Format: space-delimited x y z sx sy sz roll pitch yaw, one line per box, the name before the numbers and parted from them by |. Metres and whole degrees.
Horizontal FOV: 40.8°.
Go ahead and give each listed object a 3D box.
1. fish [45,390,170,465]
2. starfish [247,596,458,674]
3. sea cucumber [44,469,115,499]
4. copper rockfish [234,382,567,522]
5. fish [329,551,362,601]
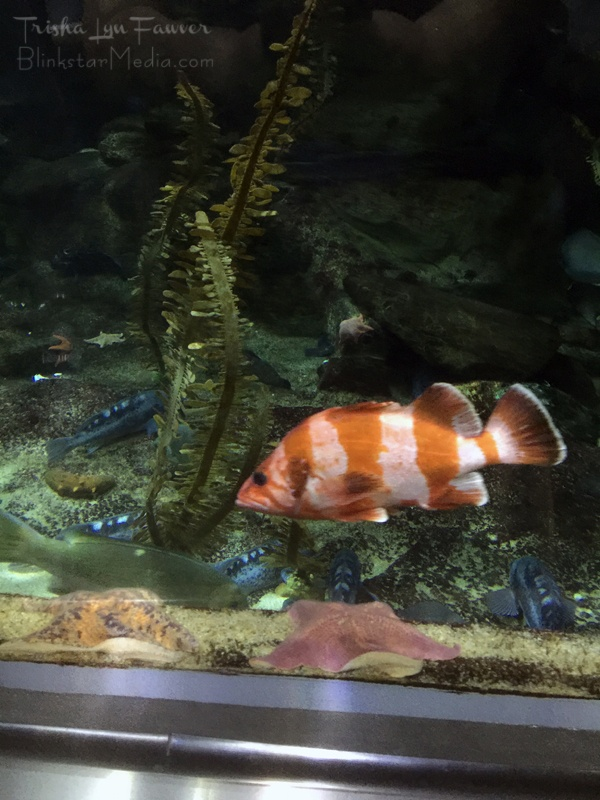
fish | -0.545 0.073 2.449 0.484 0.133 0.134 -25 22 -35
starfish | 0.111 0.516 1.753 0.293 0.077 0.261 -7 13 -28
sea cucumber | -0.623 0.232 2.242 0.130 0.026 0.097 -1 23 -3
copper rockfish | 0.216 0.113 1.769 0.697 0.289 0.132 0 27 -9
fish | 0.101 0.420 1.926 0.051 0.042 0.108 2 32 7
